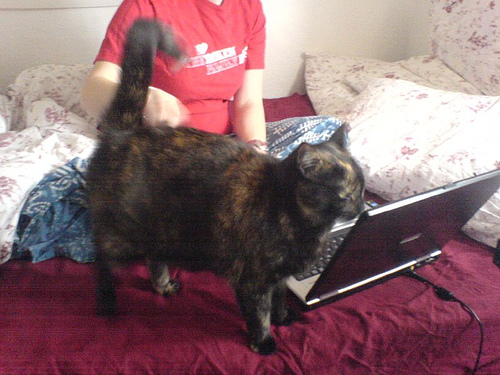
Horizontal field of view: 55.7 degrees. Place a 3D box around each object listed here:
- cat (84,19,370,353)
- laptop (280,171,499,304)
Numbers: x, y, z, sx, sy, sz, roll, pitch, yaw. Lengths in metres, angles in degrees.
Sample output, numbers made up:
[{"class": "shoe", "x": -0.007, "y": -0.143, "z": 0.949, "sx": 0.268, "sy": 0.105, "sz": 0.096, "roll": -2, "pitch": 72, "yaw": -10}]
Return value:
[{"class": "cat", "x": -0.052, "y": 0.004, "z": 0.872, "sx": 0.566, "sy": 0.552, "sz": 0.197, "roll": 14, "pitch": 22, "yaw": 30}, {"class": "laptop", "x": 0.252, "y": 0.100, "z": 1.067, "sx": 0.434, "sy": 0.244, "sz": 0.287, "roll": -12, "pitch": 46, "yaw": -25}]
